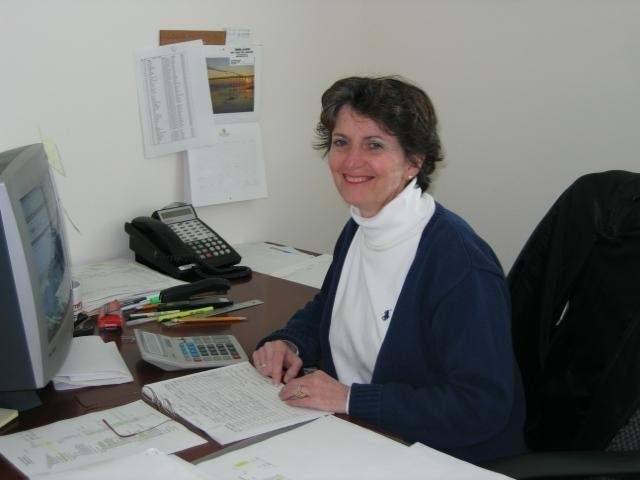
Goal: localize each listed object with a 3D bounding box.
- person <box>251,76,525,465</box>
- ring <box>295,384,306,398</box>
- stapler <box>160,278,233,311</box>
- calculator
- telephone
[{"bbox_3d":[0.132,0.151,1.206,0.524,0.929,0.579,14,18,12],"label":"person"},{"bbox_3d":[-0.039,0.297,1.000,0.017,0.021,0.008,-8,-14,11],"label":"ring"},{"bbox_3d":[-0.355,0.159,1.464,0.222,0.046,0.109,-8,12,-36],"label":"stapler"},{"bbox_3d":[-0.295,0.248,1.185,0.226,0.045,0.169,0,12,-20],"label":"calculator"},{"bbox_3d":[-0.446,0.014,1.737,0.317,0.163,0.401,-12,26,-43],"label":"telephone"}]
